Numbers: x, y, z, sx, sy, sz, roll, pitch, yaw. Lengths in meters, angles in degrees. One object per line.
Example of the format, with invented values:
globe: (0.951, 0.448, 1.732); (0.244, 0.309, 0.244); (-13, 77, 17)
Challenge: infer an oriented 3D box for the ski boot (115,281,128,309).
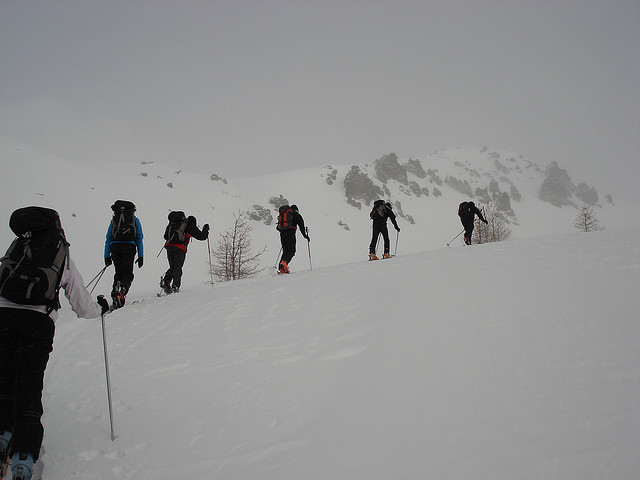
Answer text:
ski boot: (-4.363, 1.141, 11.269); (0.189, 0.679, 0.285); (-1, -7, 3)

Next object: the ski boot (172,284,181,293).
ski boot: (-3.872, 1.273, 13.760); (0.161, 0.252, 0.089); (-12, -18, 19)

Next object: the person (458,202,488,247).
person: (5.220, -0.515, 17.969); (0.711, 1.671, 3.341); (-4, 11, 15)

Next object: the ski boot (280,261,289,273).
ski boot: (-1.065, 0.775, 14.996); (0.203, 0.339, 0.122); (-23, 6, -31)

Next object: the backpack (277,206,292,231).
backpack: (-1.054, -0.614, 14.984); (0.471, 0.651, 0.445); (-8, 9, -6)

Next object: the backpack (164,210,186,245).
backpack: (-3.750, -0.330, 13.244); (0.565, 0.796, 0.498); (-7, 9, -2)

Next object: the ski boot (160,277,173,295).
ski boot: (-4.066, 1.154, 13.476); (0.289, 0.457, 0.437); (-10, 10, -16)

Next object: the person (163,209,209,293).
person: (-3.622, 0.376, 13.360); (1.133, 2.227, 1.009); (-5, -23, 16)

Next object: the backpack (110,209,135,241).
backpack: (-4.309, -0.354, 11.284); (0.525, 0.798, 0.407); (2, 12, -15)
